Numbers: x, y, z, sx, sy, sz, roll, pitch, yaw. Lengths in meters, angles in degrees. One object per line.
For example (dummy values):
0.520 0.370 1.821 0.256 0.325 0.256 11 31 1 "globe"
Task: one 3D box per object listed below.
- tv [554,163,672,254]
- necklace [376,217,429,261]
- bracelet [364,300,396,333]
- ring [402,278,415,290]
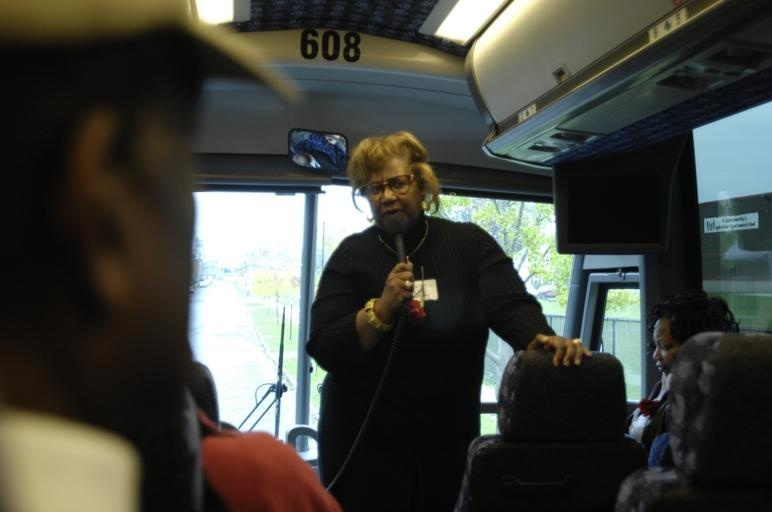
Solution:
0.995 -0.220 2.464 0.376 0.285 0.054 -1 7 2 "tv"
0.065 -0.047 1.769 0.105 0.147 0.055 -2 -20 5 "necklace"
-0.017 0.168 1.627 0.032 0.080 0.089 -35 -30 -16 "bracelet"
0.062 0.077 1.577 0.027 0.031 0.017 1 1 -8 "ring"
